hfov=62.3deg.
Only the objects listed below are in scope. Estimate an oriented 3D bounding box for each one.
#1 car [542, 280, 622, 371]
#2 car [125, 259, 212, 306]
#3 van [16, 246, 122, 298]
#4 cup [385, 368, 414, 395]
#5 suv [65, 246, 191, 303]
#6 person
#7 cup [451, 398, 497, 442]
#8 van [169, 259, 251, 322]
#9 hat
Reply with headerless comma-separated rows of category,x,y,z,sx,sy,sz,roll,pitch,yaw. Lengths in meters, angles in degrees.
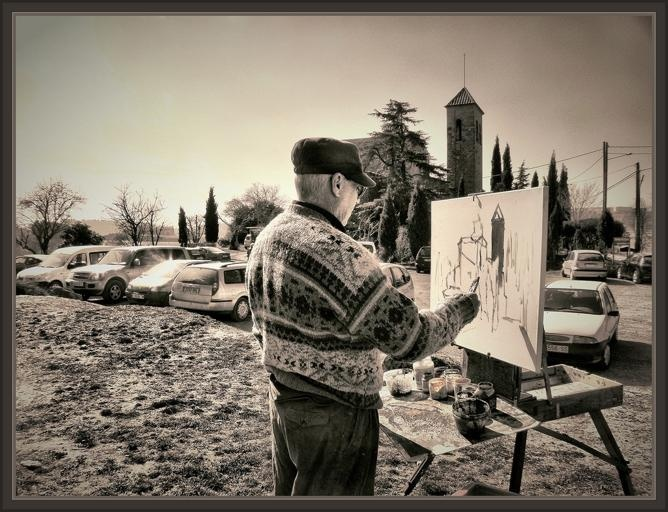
car,4.388,1.177,9.667,1.542,1.348,2.686,-2,-3,29
car,-4.008,0.597,13.581,0.977,0.929,1.905,0,-1,22
van,-6.857,0.451,14.280,1.162,1.189,2.041,-2,-3,40
cup,0.623,1.199,5.203,0.178,0.186,0.199,-1,0,-8
suv,-5.365,0.436,14.136,1.154,1.167,2.339,-1,0,39
person,0.055,0.497,4.010,1.400,2.659,0.654,-4,11,-4
cup,1.133,1.372,4.614,0.299,0.222,0.310,-1,8,0
van,-2.722,0.707,11.810,1.174,1.066,2.166,4,11,26
hat,0.015,-0.732,4.241,0.666,0.389,0.511,4,11,-11
